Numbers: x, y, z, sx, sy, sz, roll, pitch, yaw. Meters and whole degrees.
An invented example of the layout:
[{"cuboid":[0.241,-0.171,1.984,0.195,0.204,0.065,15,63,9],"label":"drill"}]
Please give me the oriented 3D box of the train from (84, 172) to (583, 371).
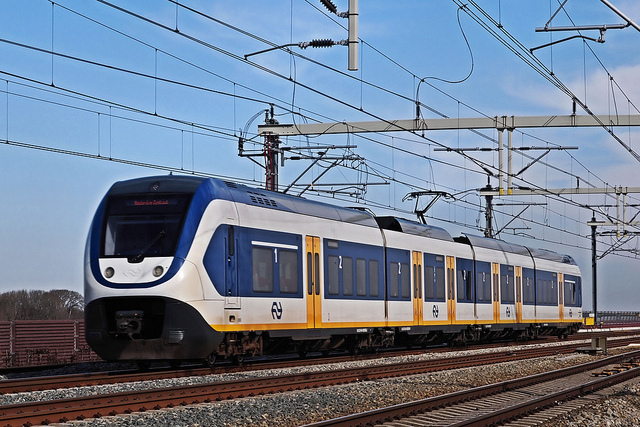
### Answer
[{"cuboid":[4.159,2.863,33.598,3.871,4.261,31.901,-8,-11,36],"label":"train"}]
